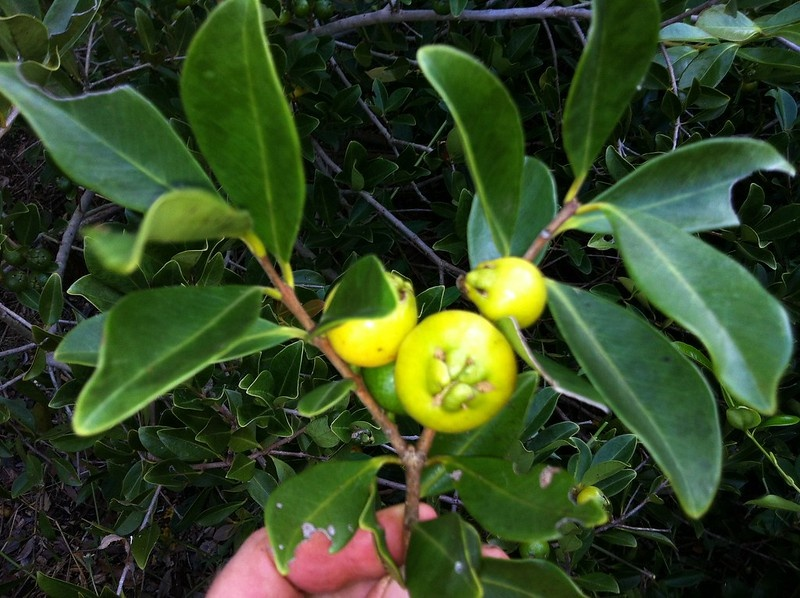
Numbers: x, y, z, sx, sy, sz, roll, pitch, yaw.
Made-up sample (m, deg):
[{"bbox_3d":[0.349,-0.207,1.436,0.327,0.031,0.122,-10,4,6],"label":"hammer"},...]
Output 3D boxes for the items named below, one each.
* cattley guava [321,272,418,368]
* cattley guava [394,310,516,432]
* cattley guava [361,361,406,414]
[{"bbox_3d":[-0.050,0.080,1.929,0.294,0.156,0.185,-42,81,-4],"label":"cattley guava"},{"bbox_3d":[0.151,0.197,1.867,0.332,0.127,0.316,-21,81,-1],"label":"cattley guava"},{"bbox_3d":[-0.046,0.254,2.005,0.104,0.078,0.142,-32,96,-7],"label":"cattley guava"}]
